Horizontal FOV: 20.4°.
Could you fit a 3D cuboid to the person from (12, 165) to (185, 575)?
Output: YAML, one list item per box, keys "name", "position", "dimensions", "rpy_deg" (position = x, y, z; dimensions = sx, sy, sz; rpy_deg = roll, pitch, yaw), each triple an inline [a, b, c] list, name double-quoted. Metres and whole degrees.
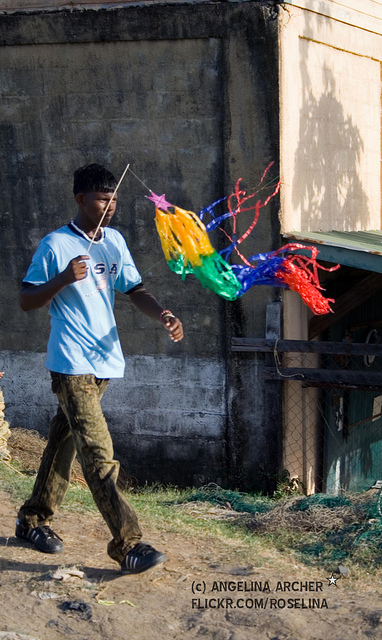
- name: "person"
  position: [-0.555, 0.285, 5.850]
  dimensions: [0.842, 2.228, 0.974]
  rpy_deg: [4, 12, -7]

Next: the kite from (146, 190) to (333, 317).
- name: "kite"
  position: [0.358, -0.482, 7.488]
  dimensions: [1.552, 0.655, 0.992]
  rpy_deg: [17, 15, 16]

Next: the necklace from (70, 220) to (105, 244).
- name: "necklace"
  position: [-0.581, -0.488, 5.906]
  dimensions: [0.192, 0.104, 0.170]
  rpy_deg: [3, 12, -11]

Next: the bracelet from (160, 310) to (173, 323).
- name: "bracelet"
  position: [-0.146, -0.020, 5.907]
  dimensions: [0.054, 0.059, 0.019]
  rpy_deg: [-3, -28, 7]
